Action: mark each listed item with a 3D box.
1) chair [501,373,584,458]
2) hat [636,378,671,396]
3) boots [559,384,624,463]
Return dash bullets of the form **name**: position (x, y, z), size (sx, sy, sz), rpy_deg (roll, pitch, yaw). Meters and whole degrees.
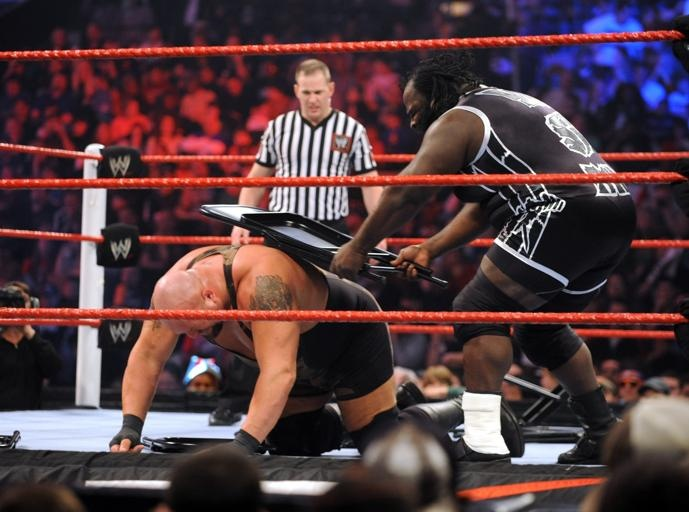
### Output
- **chair**: position (0.926, 0.706, 4.324), size (0.408, 0.168, 0.139), rpy_deg (4, 11, 39)
- **hat**: position (1.749, 0.737, 5.435), size (0.121, 0.067, 0.162), rpy_deg (-7, -15, 26)
- **boots**: position (0.944, 0.655, 3.710), size (0.191, 0.296, 0.204), rpy_deg (11, 11, 13)
